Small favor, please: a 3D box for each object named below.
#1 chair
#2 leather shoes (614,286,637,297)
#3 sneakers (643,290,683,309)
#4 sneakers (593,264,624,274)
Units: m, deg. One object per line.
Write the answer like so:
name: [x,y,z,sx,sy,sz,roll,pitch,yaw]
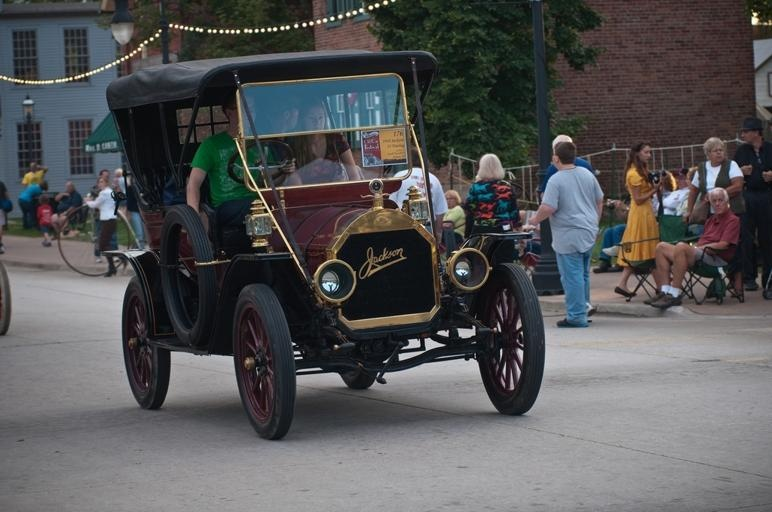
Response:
chair: [4.228,0.060,17.965,1.482,1.451,1.111,1,-1,-15]
leather shoes: [3.668,0.572,18.326,0.398,0.105,0.132,18,13,-24]
sneakers: [3.991,0.655,17.375,0.444,0.148,0.237,1,-1,-29]
sneakers: [4.021,0.246,21.971,0.618,0.207,0.193,-3,6,-18]
